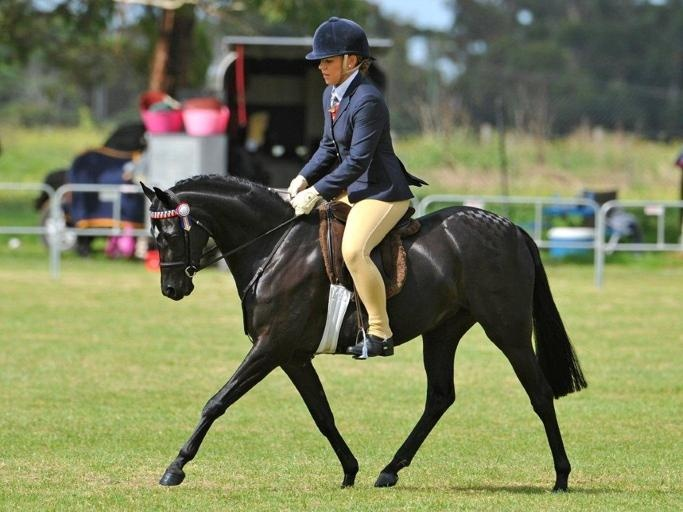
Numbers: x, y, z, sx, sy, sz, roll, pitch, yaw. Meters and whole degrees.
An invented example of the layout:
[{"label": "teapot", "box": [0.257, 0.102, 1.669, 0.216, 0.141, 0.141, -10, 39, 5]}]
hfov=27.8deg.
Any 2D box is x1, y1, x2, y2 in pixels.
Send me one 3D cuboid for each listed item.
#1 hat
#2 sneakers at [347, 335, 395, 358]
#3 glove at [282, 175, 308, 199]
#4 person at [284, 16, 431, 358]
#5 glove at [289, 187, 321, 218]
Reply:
[{"label": "hat", "box": [-0.037, -1.971, 12.830, 0.539, 0.309, 0.377, -7, 10, -21]}, {"label": "sneakers", "box": [0.277, 0.853, 12.656, 0.456, 0.190, 0.183, 1, -2, -22]}, {"label": "glove", "box": [-0.442, -0.616, 12.969, 0.159, 0.255, 0.102, 42, -6, 14]}, {"label": "person", "box": [0.107, -0.626, 12.813, 1.129, 2.999, 0.900, 11, 17, 35]}, {"label": "glove", "box": [-0.363, -0.470, 12.717, 0.288, 0.215, 0.126, -35, -24, 15]}]
